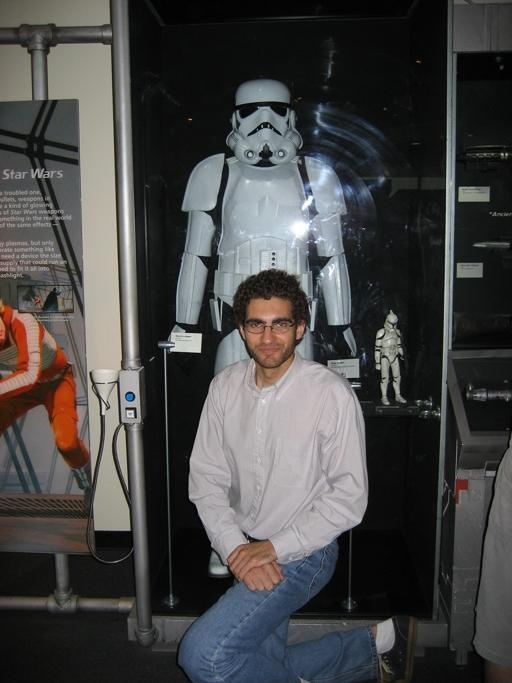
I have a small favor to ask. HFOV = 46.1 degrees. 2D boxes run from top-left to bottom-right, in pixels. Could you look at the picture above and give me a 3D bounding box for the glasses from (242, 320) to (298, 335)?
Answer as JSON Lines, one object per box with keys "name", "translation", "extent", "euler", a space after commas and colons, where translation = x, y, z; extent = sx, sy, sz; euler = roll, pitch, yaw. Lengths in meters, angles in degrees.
{"name": "glasses", "translation": [0.034, -0.039, 1.588], "extent": [0.125, 0.039, 0.037], "euler": [2, 0, 7]}
